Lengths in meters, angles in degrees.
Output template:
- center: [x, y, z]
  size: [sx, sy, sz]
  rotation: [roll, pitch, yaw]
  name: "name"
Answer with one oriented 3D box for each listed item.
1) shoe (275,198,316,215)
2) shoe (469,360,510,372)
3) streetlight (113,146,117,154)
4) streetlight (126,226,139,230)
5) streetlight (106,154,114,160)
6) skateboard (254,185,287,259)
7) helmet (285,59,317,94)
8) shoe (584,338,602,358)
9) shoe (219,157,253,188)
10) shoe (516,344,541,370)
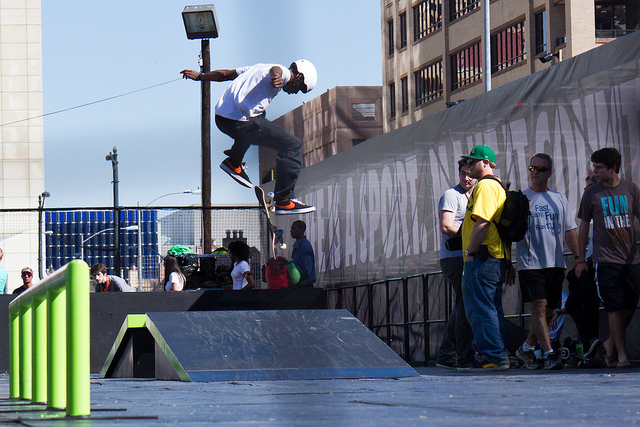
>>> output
- center: [-0.491, -0.126, 25.867]
  size: [0.780, 0.333, 0.264]
  rotation: [-1, -2, -16]
  name: "shoe"
- center: [2.238, 2.015, 19.281]
  size: [0.522, 0.221, 0.187]
  rotation: [-6, -4, 11]
  name: "shoe"
- center: [-5.988, -1.809, 42.326]
  size: [0.078, 0.158, 0.097]
  rotation: [0, -5, -37]
  name: "streetlight"
- center: [-3.150, 0.243, 24.437]
  size: [0.086, 0.062, 0.375]
  rotation: [-4, -4, 17]
  name: "streetlight"
- center: [-6.194, -1.656, 42.725]
  size: [0.271, 0.115, 0.379]
  rotation: [0, -2, -7]
  name: "streetlight"
- center: [-0.832, 0.135, 25.403]
  size: [0.225, 1.463, 0.393]
  rotation: [-10, -4, -9]
  name: "skateboard"
- center: [-0.362, -2.735, 29.133]
  size: [0.536, 0.664, 0.316]
  rotation: [-3, -4, -7]
  name: "helmet"
- center: [3.640, 1.799, 19.470]
  size: [0.145, 0.374, 0.124]
  rotation: [12, 4, -36]
  name: "shoe"
- center: [-1.559, -0.836, 28.367]
  size: [0.831, 0.395, 0.264]
  rotation: [35, -14, -23]
  name: "shoe"
- center: [2.817, 1.950, 19.700]
  size: [0.242, 0.304, 0.526]
  rotation: [-3, -4, -4]
  name: "shoe"
